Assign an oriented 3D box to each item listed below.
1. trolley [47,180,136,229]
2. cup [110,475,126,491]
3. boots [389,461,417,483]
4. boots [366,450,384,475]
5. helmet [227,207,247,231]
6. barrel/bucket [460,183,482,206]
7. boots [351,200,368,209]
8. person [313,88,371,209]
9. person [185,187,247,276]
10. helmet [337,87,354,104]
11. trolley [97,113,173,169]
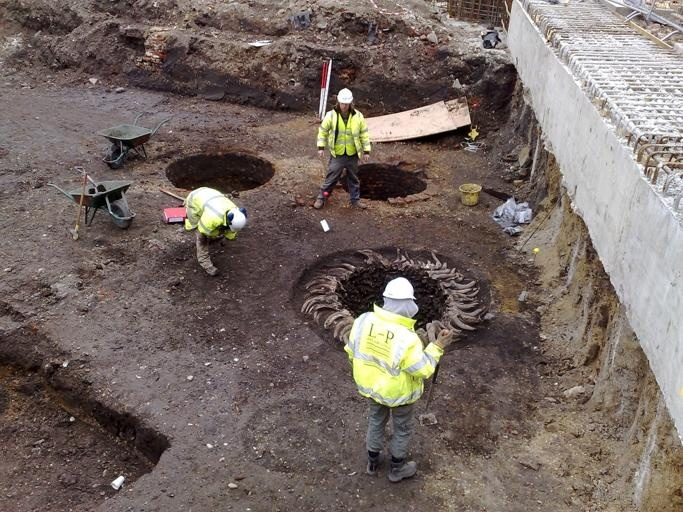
[{"bbox_3d":[-4.035,-0.865,9.345,1.475,0.637,0.739,9,24,18],"label":"trolley"},{"bbox_3d":[-2.618,2.684,6.771,0.120,0.110,0.175,25,29,15],"label":"cup"},{"bbox_3d":[0.673,2.391,6.352,0.335,0.220,0.134,-11,43,-21],"label":"boots"},{"bbox_3d":[0.356,2.303,6.382,0.146,0.296,0.311,3,36,6],"label":"boots"},{"bbox_3d":[-1.471,-0.562,8.196,0.234,0.304,0.373,-1,61,4],"label":"helmet"},{"bbox_3d":[2.324,-1.122,10.485,0.413,0.282,0.404,-1,30,1],"label":"barrel/bucket"},{"bbox_3d":[0.328,-0.954,10.462,0.131,0.117,0.272,-24,34,-38],"label":"boots"},{"bbox_3d":[-0.002,-1.799,10.101,0.992,2.137,1.258,0,61,5],"label":"person"},{"bbox_3d":[-1.846,-0.497,8.597,0.818,1.168,1.064,-15,52,-29],"label":"person"},{"bbox_3d":[0.072,-2.669,9.651,0.378,0.258,0.501,3,27,-2],"label":"helmet"},{"bbox_3d":[-3.994,-2.229,11.171,0.757,0.658,1.488,20,34,21],"label":"trolley"}]
